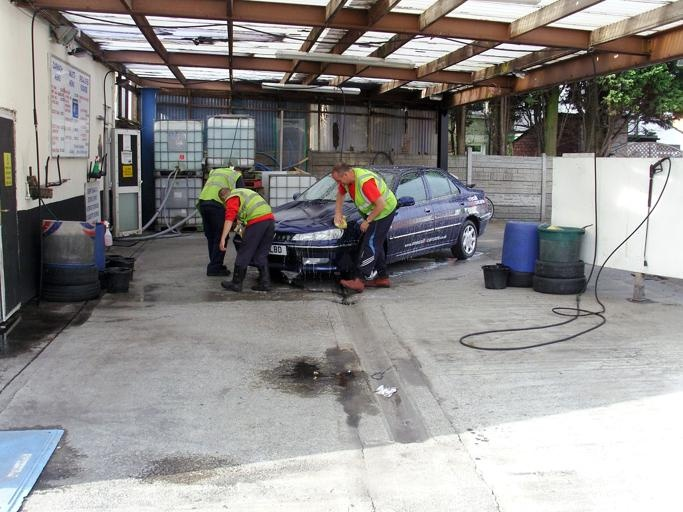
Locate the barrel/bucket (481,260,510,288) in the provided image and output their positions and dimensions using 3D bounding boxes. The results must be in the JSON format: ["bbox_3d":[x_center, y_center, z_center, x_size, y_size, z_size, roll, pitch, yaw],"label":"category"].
[{"bbox_3d":[2.479,0.337,8.596,0.390,0.284,0.389,0,3,0],"label":"barrel/bucket"}]

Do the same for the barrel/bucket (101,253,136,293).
[{"bbox_3d":[-3.444,0.289,8.185,0.483,0.243,0.682,-1,11,-14],"label":"barrel/bucket"}]

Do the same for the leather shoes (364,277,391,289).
[{"bbox_3d":[0.586,0.473,8.567,0.415,0.158,0.154,2,3,0],"label":"leather shoes"}]

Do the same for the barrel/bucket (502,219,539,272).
[{"bbox_3d":[2.860,-0.141,8.671,0.735,0.801,0.732,0,8,0],"label":"barrel/bucket"}]

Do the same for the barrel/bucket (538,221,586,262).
[{"bbox_3d":[3.352,-0.206,8.002,0.633,0.530,0.590,0,5,0],"label":"barrel/bucket"}]

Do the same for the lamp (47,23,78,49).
[{"bbox_3d":[-4.565,-3.617,8.587,0.285,0.181,0.369,-12,-18,-43],"label":"lamp"}]

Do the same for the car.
[{"bbox_3d":[0.783,-0.645,9.846,4.829,1.549,2.048,-8,7,-43],"label":"car"}]

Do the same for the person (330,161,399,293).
[{"bbox_3d":[0.362,-0.406,8.174,1.039,1.970,0.841,-1,10,-11],"label":"person"}]

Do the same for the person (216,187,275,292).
[{"bbox_3d":[-1.429,-0.202,8.020,0.786,1.547,0.325,0,10,-3],"label":"person"}]

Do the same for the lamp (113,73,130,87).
[{"bbox_3d":[-5.637,-4.510,13.579,0.402,0.329,0.682,7,15,-17],"label":"lamp"}]
